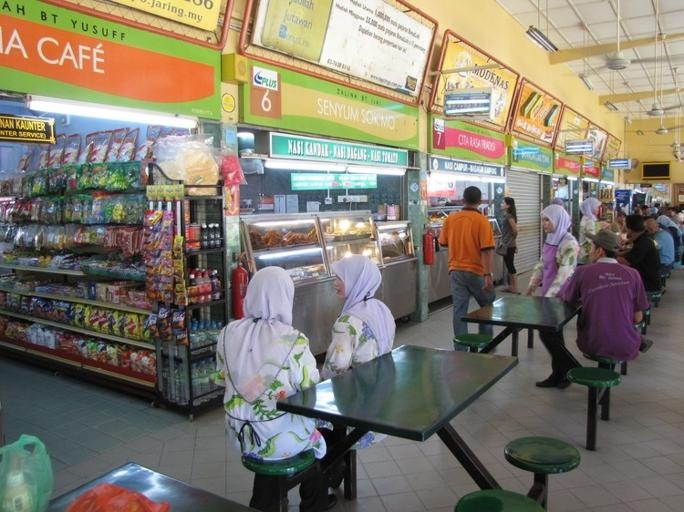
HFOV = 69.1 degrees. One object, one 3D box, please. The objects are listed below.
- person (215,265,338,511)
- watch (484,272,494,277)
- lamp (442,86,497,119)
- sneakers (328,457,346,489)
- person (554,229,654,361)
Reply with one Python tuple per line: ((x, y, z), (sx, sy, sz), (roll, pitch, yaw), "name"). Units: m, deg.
((-0.438, 0.697, 2.957), (0.705, 1.235, 0.335), (4, 10, -1), "person")
((1.724, 0.216, 5.881), (0.090, 0.050, 0.084), (4, -9, -25), "watch")
((2.043, -2.356, 8.029), (0.903, 0.554, 0.488), (3, 1, 25), "lamp")
((-0.048, 1.567, 3.576), (0.072, 0.205, 0.156), (-3, 12, -14), "sneakers")
((2.688, 0.339, 4.947), (0.972, 1.161, 0.831), (-2, 8, -6), "person")
